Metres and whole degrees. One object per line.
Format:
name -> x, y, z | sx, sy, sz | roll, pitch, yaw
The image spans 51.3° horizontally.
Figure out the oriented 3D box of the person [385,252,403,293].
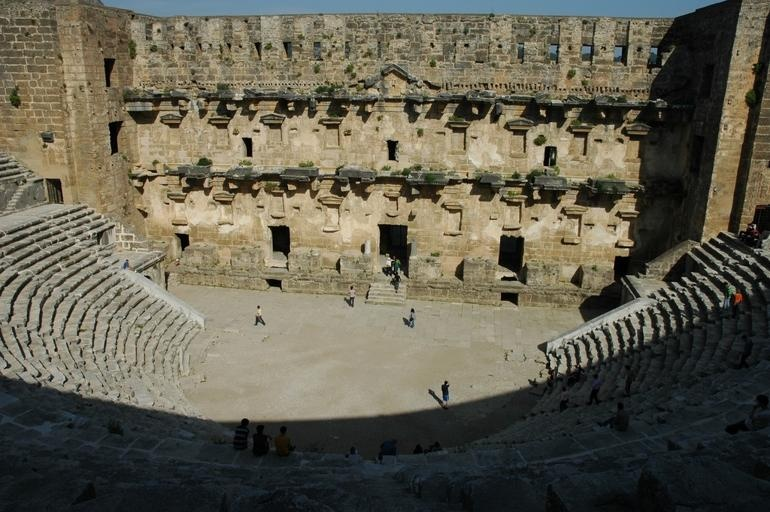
person -> 0.446, 0.747, 34.973 | 0.873, 1.465, 0.904 | -3, -57, -6
